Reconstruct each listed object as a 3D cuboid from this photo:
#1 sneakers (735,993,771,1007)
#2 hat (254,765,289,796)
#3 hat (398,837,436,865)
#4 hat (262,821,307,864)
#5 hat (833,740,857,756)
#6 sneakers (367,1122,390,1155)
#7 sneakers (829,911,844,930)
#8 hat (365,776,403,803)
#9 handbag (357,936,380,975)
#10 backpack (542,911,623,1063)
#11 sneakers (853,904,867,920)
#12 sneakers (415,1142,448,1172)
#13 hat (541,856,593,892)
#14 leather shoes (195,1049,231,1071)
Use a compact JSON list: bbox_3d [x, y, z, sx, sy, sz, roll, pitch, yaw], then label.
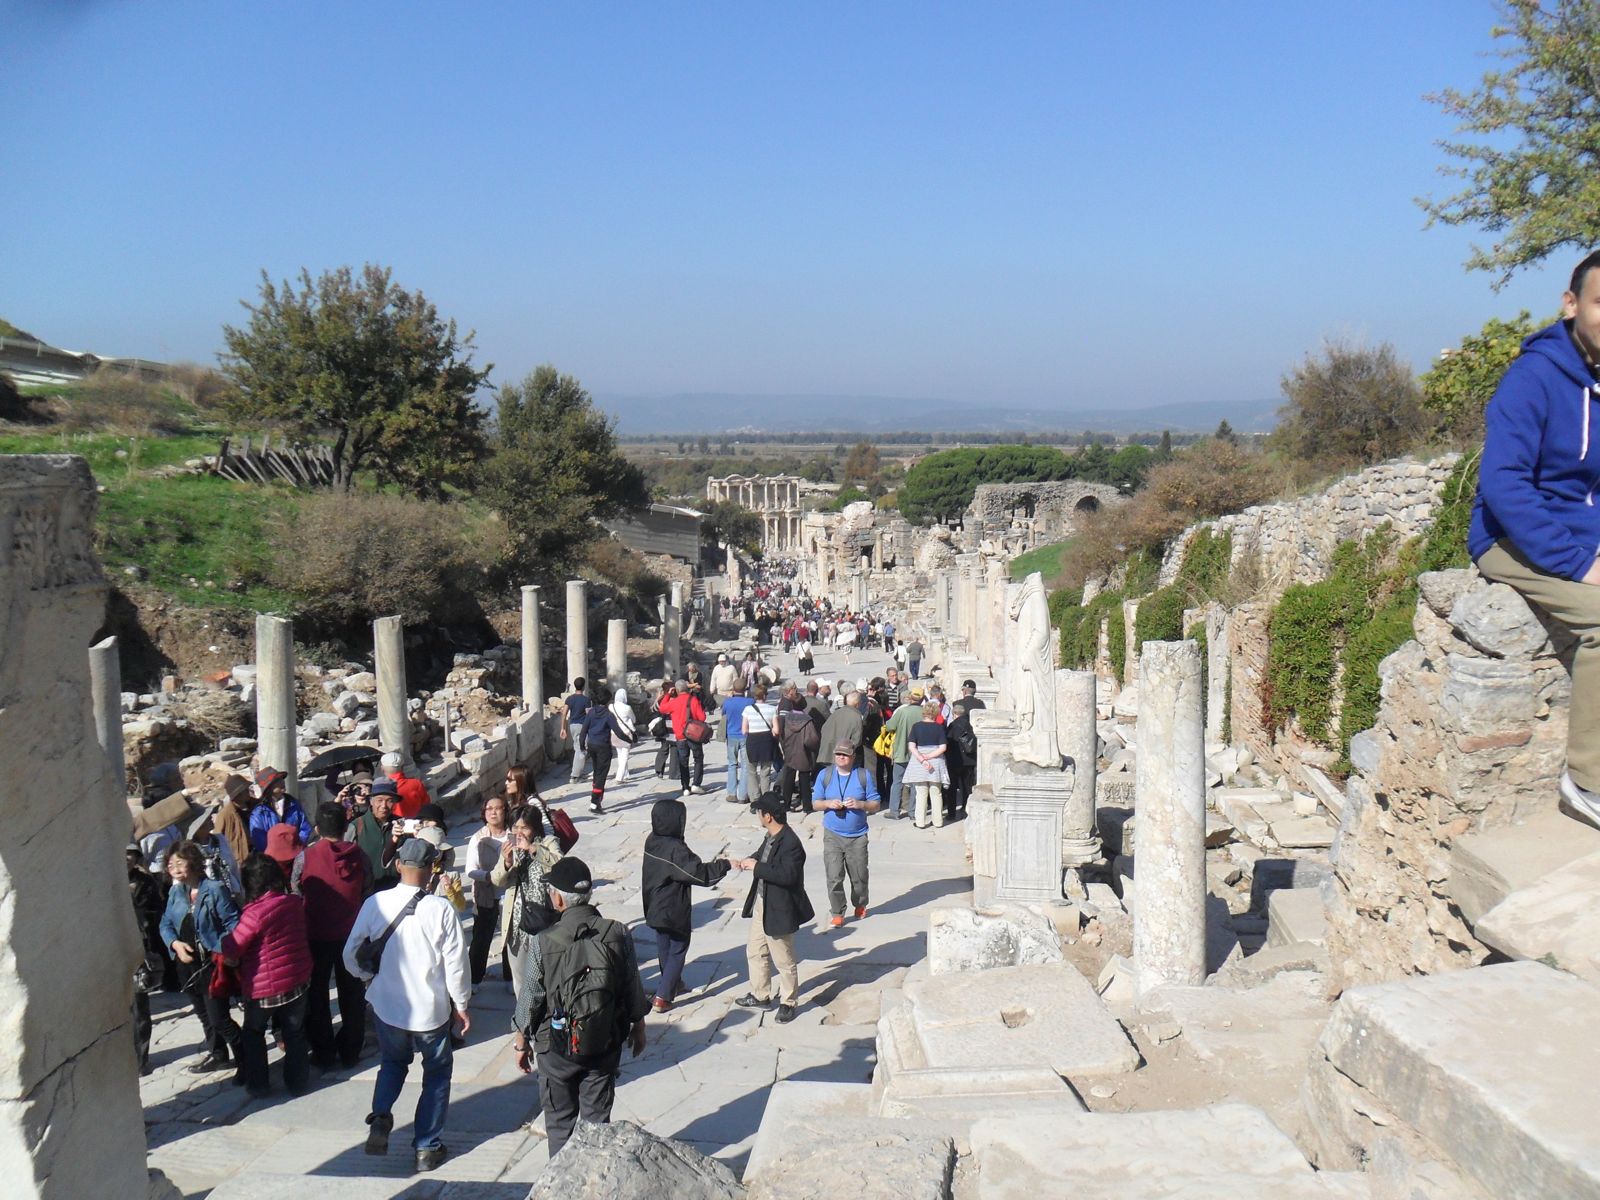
[{"bbox_3d":[-0.308,3.038,9.381,0.203,0.089,0.115,5,3,4],"label":"sneakers"},{"bbox_3d":[-3.908,1.335,9.263,0.175,0.083,0.213,-20,6,14],"label":"hat"},{"bbox_3d":[-2.166,1.443,7.103,0.192,0.152,0.210,0,4,-19],"label":"hat"},{"bbox_3d":[-3.497,1.652,8.428,0.293,0.168,0.307,3,10,-14],"label":"hat"},{"bbox_3d":[0.401,1.269,10.572,0.127,0.161,0.168,4,-15,9],"label":"hat"},{"bbox_3d":[-2.337,3.012,6.933,0.128,0.182,0.116,-1,4,-28],"label":"sneakers"},{"bbox_3d":[0.353,2.853,10.995,0.093,0.124,0.279,-1,-17,6],"label":"sneakers"},{"bbox_3d":[-3.175,1.459,9.565,0.222,0.143,0.233,4,-4,18],"label":"hat"},{"bbox_3d":[-2.383,2.001,6.929,0.164,0.211,0.056,2,4,12],"label":"handbag"},{"bbox_3d":[-1.091,2.024,6.411,0.394,0.772,0.250,-1,4,-27],"label":"backpack"},{"bbox_3d":[0.568,2.839,11.237,0.054,0.122,0.168,3,6,8],"label":"sneakers"},{"bbox_3d":[-1.995,3.057,6.819,0.193,0.111,0.154,-1,4,-33],"label":"sneakers"},{"bbox_3d":[-1.218,1.481,6.642,0.222,0.139,0.168,22,15,41],"label":"hat"},{"bbox_3d":[-3.729,2.969,7.971,0.269,0.122,0.086,-1,-7,21],"label":"leather shoes"}]
